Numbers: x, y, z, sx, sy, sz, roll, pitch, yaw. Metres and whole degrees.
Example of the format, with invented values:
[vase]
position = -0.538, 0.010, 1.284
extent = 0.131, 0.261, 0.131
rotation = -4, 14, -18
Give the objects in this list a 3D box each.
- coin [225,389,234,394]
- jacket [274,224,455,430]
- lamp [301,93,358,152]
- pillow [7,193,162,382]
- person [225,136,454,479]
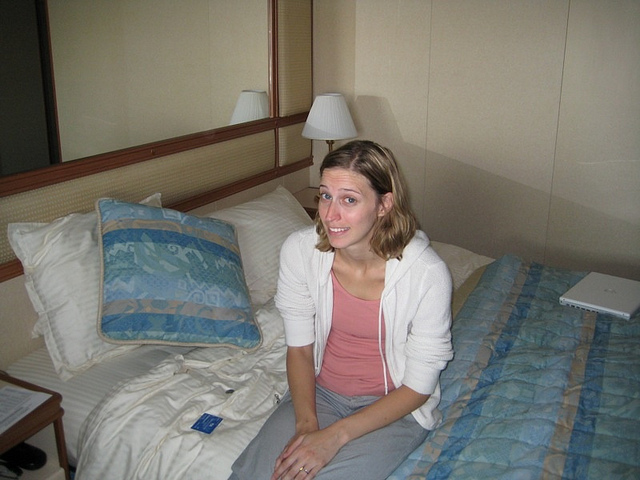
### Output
[coin]
position = -0.333, 0.555, 1.638
extent = 0.032, 0.004, 0.023
rotation = -4, 24, -11
[jacket]
position = 0.148, 0.294, 1.482
extent = 0.535, 0.592, 0.319
rotation = 5, 18, 22
[lamp]
position = 0.069, -0.710, 3.082
extent = 0.310, 0.556, 0.315
rotation = 24, 38, 30
[pillow]
position = -0.975, 0.191, 1.740
extent = 0.162, 0.565, 0.551
rotation = -20, 2, 44
[person]
position = 0.088, 0.194, 1.363
extent = 0.614, 0.875, 0.644
rotation = 8, 24, 16
